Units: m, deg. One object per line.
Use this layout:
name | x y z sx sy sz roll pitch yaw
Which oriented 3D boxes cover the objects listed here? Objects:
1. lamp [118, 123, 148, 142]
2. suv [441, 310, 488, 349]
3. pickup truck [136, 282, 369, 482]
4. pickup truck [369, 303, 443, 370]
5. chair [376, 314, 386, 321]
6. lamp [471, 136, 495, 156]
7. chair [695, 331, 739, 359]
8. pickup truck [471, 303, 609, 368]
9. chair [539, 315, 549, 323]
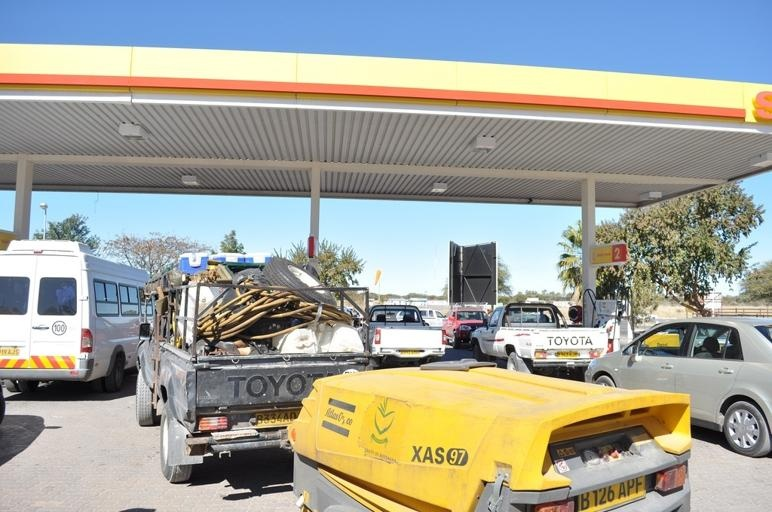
lamp | -6.882 -3.400 15.031 0.528 0.242 0.524 3 -12 -4
suv | 3.777 3.274 26.258 1.570 1.509 3.084 1 -14 -8
pickup truck | -2.708 1.962 9.739 2.958 2.818 5.054 7 -5 -30
pickup truck | 0.390 2.364 16.561 1.468 1.368 2.870 1 -1 -11
chair | -0.152 2.004 18.099 0.321 0.294 0.177 0 -44 2
lamp | 2.844 -3.218 15.950 0.437 0.297 0.449 1 -9 -2
chair | 5.676 1.523 9.377 0.346 0.250 0.534 2 -16 -4
pickup truck | 3.773 2.123 14.633 1.610 1.449 3.097 1 -2 -16
chair | 4.460 1.758 15.580 0.123 0.236 0.139 -21 -6 39
